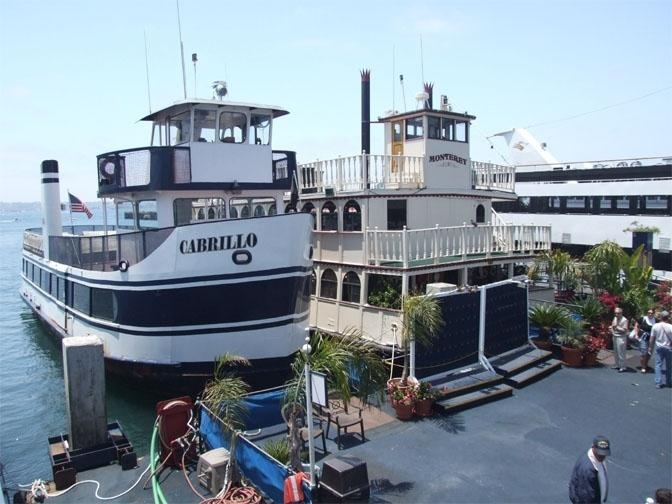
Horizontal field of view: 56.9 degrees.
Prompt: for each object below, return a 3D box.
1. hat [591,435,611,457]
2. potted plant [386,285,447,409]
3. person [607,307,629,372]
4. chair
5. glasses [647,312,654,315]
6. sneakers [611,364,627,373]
[{"bbox_3d":[5.392,3.963,12.675,0.320,0.314,0.505,0,6,15],"label":"hat"},{"bbox_3d":[2.248,2.930,17.769,1.280,3.320,1.713,0,3,37],"label":"potted plant"},{"bbox_3d":[8.928,2.777,19.617,0.419,1.989,0.737,0,2,25],"label":"person"},{"bbox_3d":[-0.379,4.374,15.572,1.707,1.376,0.737,2,-7,-34],"label":"chair"},{"bbox_3d":[9.870,1.919,19.527,0.112,0.065,0.151,4,-5,-1],"label":"glasses"},{"bbox_3d":[9.023,3.692,19.681,0.261,0.109,0.217,-11,12,-13],"label":"sneakers"}]
